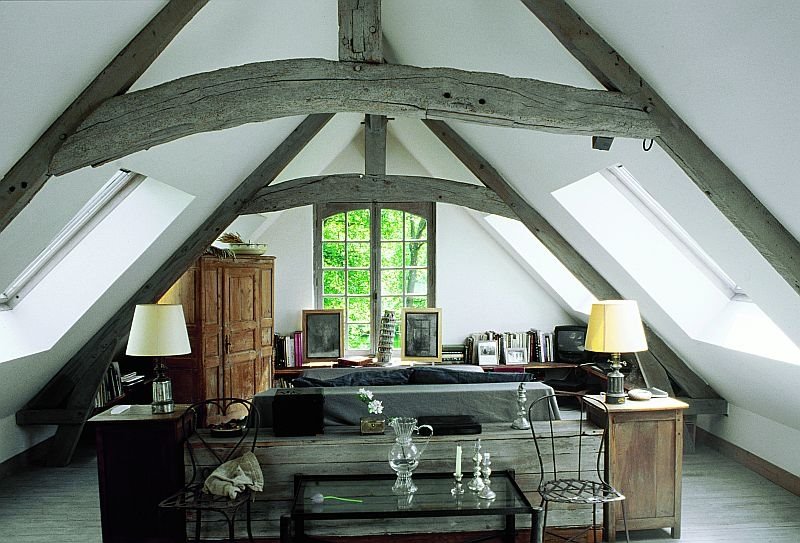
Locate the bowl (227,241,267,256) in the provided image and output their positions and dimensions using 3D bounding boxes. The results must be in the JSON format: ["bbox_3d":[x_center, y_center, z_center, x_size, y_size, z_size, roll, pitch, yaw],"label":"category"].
[{"bbox_3d":[-1.867,-0.270,8.596,0.480,0.209,0.196,7,-10,-40],"label":"bowl"}]

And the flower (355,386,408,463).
[{"bbox_3d":[-0.067,1.226,5.561,0.575,0.394,0.415,-1,6,-7],"label":"flower"}]

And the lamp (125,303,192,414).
[{"bbox_3d":[-2.009,0.716,5.716,0.429,0.894,0.411,-5,-10,37],"label":"lamp"}]

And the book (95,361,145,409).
[{"bbox_3d":[-3.001,1.222,7.343,0.198,0.226,0.619,-14,4,-10],"label":"book"}]

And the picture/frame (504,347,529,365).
[{"bbox_3d":[1.574,1.144,9.323,0.392,0.290,0.186,0,0,-4],"label":"picture/frame"}]

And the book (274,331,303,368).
[{"bbox_3d":[-1.463,1.036,9.455,0.437,0.503,0.546,0,-1,-3],"label":"book"}]

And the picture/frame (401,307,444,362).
[{"bbox_3d":[0.290,0.863,9.305,0.816,0.953,0.078,1,-3,-4],"label":"picture/frame"}]

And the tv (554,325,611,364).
[{"bbox_3d":[2.392,0.985,9.202,0.893,0.720,0.493,0,-3,8],"label":"tv"}]

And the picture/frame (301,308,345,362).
[{"bbox_3d":[-1.032,0.863,9.219,0.789,0.877,0.095,0,-1,-7],"label":"picture/frame"}]

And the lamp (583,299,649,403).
[{"bbox_3d":[1.927,0.702,6.077,0.483,0.882,0.907,-2,-8,21],"label":"lamp"}]
